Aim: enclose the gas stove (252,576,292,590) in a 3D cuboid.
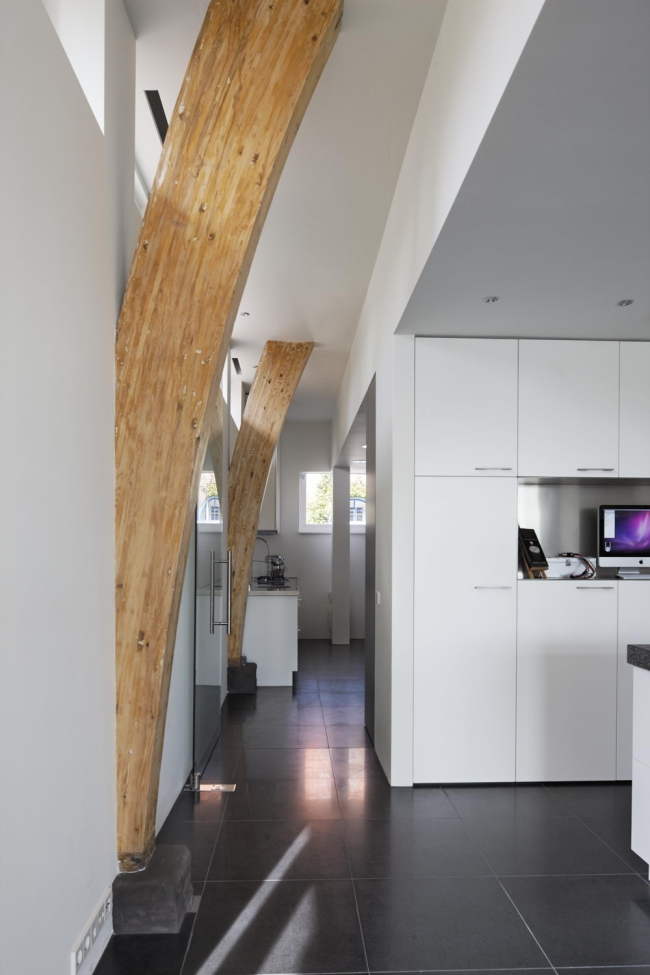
[{"bbox_3d":[-0.530,0.955,7.749,0.326,0.093,1.007,1,-5,-6],"label":"gas stove"}]
